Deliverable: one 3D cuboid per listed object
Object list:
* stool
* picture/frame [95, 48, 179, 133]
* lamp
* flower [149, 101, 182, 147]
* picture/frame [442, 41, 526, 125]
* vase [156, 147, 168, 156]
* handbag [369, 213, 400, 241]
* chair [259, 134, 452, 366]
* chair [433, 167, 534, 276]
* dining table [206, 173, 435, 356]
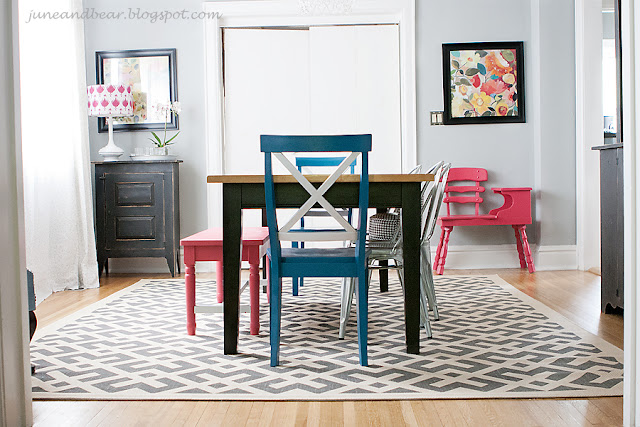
[{"bbox_3d":[-0.619,0.320,3.539,0.598,0.615,1.285,1,3,-1],"label":"stool"},{"bbox_3d":[-1.820,-1.265,5.143,0.912,0.859,0.069,-1,1,-3],"label":"picture/frame"},{"bbox_3d":[-2.049,-0.903,5.064,0.420,0.740,0.321,-4,10,-17],"label":"lamp"},{"bbox_3d":[-1.568,-0.895,5.176,0.326,0.444,0.151,-2,10,-6],"label":"flower"},{"bbox_3d":[1.639,-1.332,5.123,0.855,0.806,0.065,-1,3,2],"label":"picture/frame"},{"bbox_3d":[-1.551,-0.603,5.036,0.096,0.055,0.093,-1,4,-3],"label":"vase"},{"bbox_3d":[0.437,0.092,3.562,0.192,0.159,0.183,0,-1,0],"label":"handbag"},{"bbox_3d":[-0.016,0.195,2.945,0.601,1.278,0.390,-1,10,1],"label":"chair"},{"bbox_3d":[1.582,0.058,5.180,0.951,1.044,0.712,-4,0,4],"label":"chair"},{"bbox_3d":[-0.002,0.241,3.384,1.172,0.922,1.136,-1,-1,0],"label":"dining table"}]
